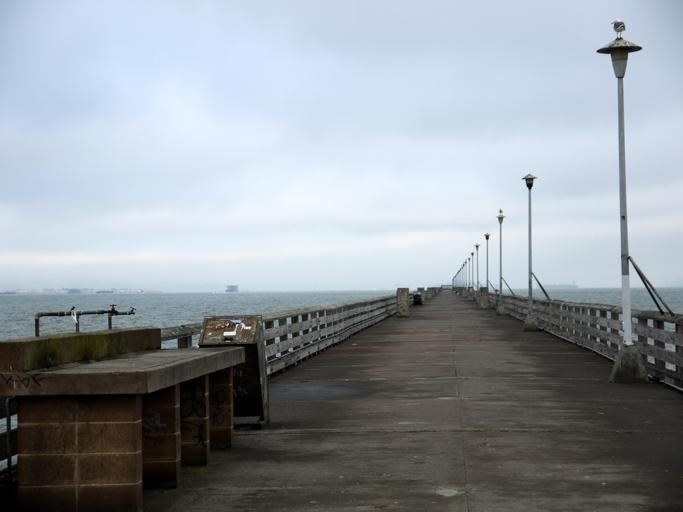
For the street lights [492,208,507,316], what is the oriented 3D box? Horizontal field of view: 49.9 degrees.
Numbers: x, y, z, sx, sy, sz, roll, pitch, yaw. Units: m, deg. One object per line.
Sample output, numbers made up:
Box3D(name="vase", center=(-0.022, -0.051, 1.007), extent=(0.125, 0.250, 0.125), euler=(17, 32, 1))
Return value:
Box3D(name="street lights", center=(8.606, -0.332, 39.576), extent=(0.596, 4.062, 0.532), euler=(-6, 7, -34))
